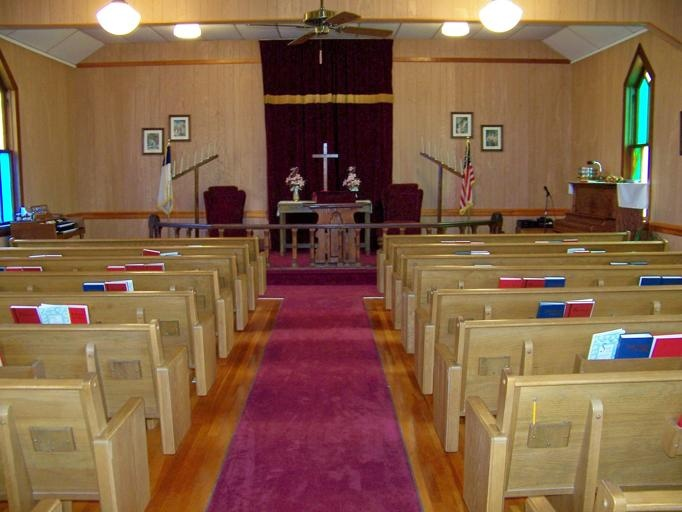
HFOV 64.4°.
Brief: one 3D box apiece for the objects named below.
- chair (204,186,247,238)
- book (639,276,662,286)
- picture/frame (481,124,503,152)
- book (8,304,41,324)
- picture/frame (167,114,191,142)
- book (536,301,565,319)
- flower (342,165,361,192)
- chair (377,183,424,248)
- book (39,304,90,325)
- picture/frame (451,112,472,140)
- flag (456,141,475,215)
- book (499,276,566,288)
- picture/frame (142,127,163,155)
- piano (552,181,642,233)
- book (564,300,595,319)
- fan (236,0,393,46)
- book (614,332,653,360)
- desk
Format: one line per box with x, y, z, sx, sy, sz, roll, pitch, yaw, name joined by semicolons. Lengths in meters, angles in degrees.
-2.153;-0.891;10.785;0.895;1.169;0.977;-1;5;-8;chair
2.320;0.188;4.044;0.129;0.089;0.031;-2;17;-2;book
2.945;-2.338;10.584;0.535;0.596;0.046;0;7;-3;picture/frame
-1.939;0.363;3.328;0.145;0.142;0.034;1;27;6;book
-3.152;-2.515;10.507;0.584;0.678;0.052;0;2;-4;picture/frame
1.279;0.327;3.301;0.102;0.094;0.036;1;26;3;book
0.197;-1.413;10.043;0.361;0.487;0.981;0;12;1;flower
1.072;-0.756;9.837;0.907;1.080;0.903;0;9;0;chair
-1.683;0.355;3.297;0.215;0.050;0.209;1;6;-8;book
2.347;-2.563;10.545;0.497;0.554;0.061;-2;1;4;picture/frame
2.354;-1.431;10.113;0.268;1.436;1.179;3;13;13;flag
1.367;0.195;3.861;0.455;0.072;0.132;0;12;2;book
-3.690;-2.278;10.565;0.521;0.607;0.047;1;9;-3;picture/frame
3.939;-0.682;8.520;0.874;0.988;1.541;-4;9;0;piano
1.450;0.325;3.312;0.123;0.101;0.178;10;15;39;book
-0.423;-3.210;7.427;1.687;0.588;1.635;-6;15;-22;fan
1.413;0.435;2.605;0.165;0.119;0.123;-11;16;-42;book
-0.276;-0.424;8.687;1.167;0.687;0.450;0;2;1;desk
